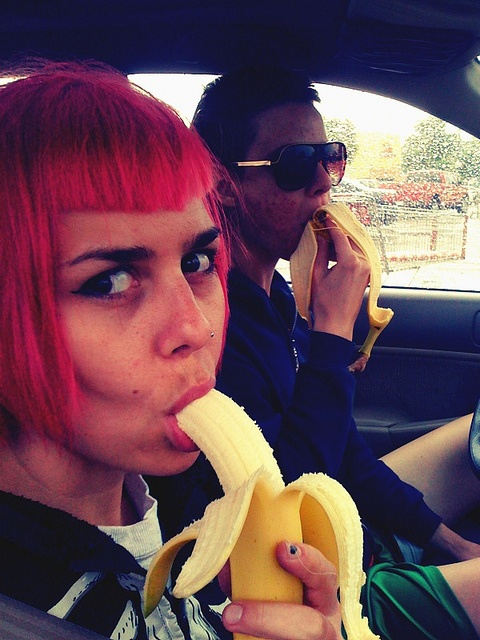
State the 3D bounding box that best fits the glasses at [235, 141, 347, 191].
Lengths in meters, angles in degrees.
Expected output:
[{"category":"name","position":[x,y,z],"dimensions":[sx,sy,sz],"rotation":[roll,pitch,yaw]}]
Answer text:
[{"category":"glasses","position":[0.163,-0.388,1.867],"dimensions":[0.231,0.084,0.173],"rotation":[8,16,41]}]
